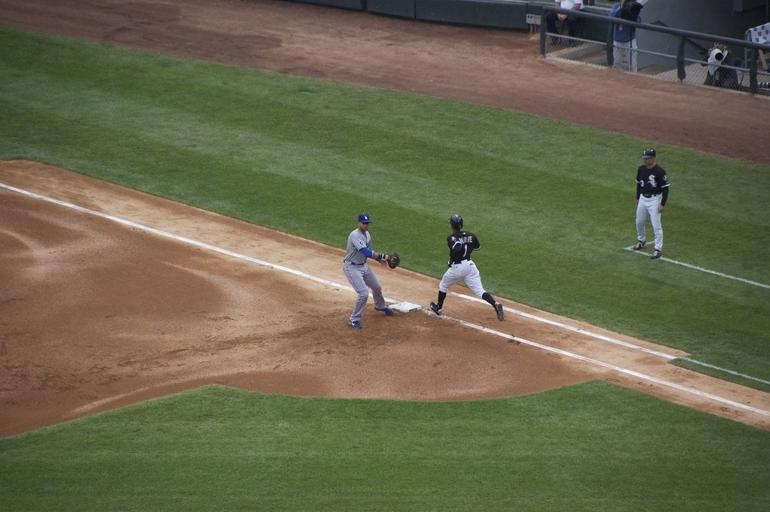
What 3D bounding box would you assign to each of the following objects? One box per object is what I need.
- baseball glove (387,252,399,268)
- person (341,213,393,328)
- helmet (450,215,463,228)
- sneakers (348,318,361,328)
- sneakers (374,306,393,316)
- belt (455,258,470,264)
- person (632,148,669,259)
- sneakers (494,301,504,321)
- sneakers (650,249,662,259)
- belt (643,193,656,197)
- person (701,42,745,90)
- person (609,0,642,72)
[{"bbox_3d":[0.168,0.105,29.800,0.374,0.134,0.264,26,32,-9],"label":"baseball glove"},{"bbox_3d":[-0.458,0.301,29.915,1.007,2.598,1.111,18,22,35],"label":"person"},{"bbox_3d":[1.717,-0.840,30.015,0.294,0.306,0.348,-17,18,-11],"label":"helmet"},{"bbox_3d":[-0.715,1.555,29.826,0.159,0.117,0.300,-26,38,-35],"label":"sneakers"},{"bbox_3d":[-0.007,1.316,30.372,0.429,0.167,0.178,7,40,12],"label":"sneakers"},{"bbox_3d":[1.838,0.104,29.955,0.349,0.135,0.049,-2,19,-22],"label":"belt"},{"bbox_3d":[6.784,-1.354,32.321,0.930,2.761,0.606,9,18,10],"label":"person"},{"bbox_3d":[2.686,1.283,29.997,0.195,0.437,0.215,-23,9,-22],"label":"sneakers"},{"bbox_3d":[6.939,-0.040,32.564,0.183,0.207,0.345,0,-3,36],"label":"sneakers"},{"bbox_3d":[6.663,-1.536,32.130,0.303,0.108,0.058,12,18,26],"label":"belt"},{"bbox_3d":[10.428,-5.771,39.350,0.817,1.231,1.358,-10,21,6],"label":"person"},{"bbox_3d":[7.585,-6.926,40.113,1.015,2.186,1.283,6,17,3],"label":"person"}]
